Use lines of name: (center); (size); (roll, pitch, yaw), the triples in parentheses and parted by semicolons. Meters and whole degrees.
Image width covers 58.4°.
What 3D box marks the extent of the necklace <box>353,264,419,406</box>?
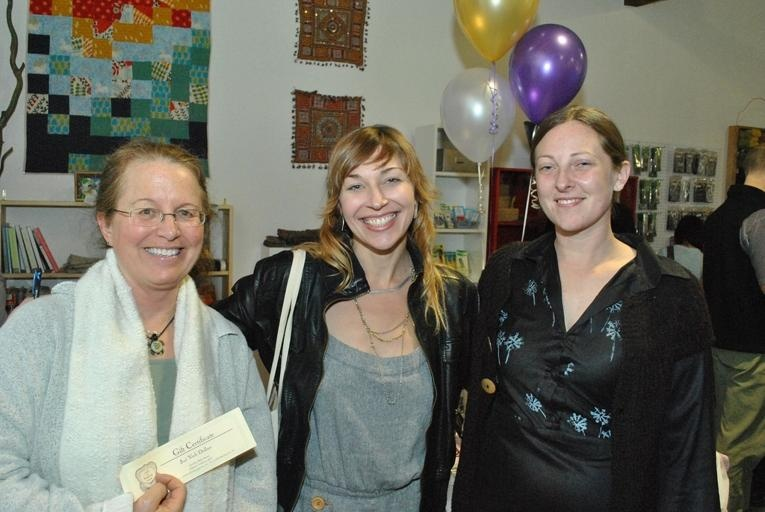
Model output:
necklace: (0.028, 0.339, 3.310); (0.295, 0.550, 0.109); (-2, -13, -9)

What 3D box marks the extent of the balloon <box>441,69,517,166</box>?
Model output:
balloon: (0.705, -1.089, 5.463); (0.616, 0.799, 0.652); (-2, 1, -1)
